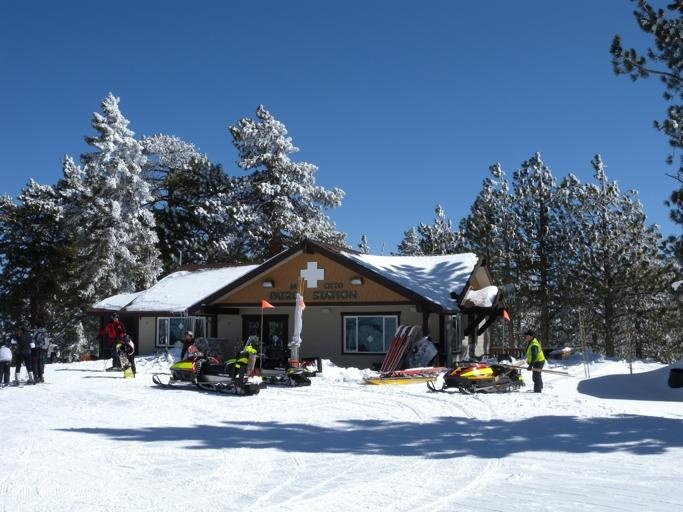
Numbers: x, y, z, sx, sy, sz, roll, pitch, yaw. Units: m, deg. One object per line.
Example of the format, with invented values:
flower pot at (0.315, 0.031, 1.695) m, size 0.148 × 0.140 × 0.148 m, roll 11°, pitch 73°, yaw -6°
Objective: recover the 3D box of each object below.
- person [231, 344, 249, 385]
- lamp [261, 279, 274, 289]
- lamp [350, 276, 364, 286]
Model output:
person at (-3.220, 3.255, 20.169) m, size 0.159 × 1.147 × 0.359 m, roll 16°, pitch 13°, yaw 11°
lamp at (-3.405, 1.300, 29.954) m, size 0.587 × 0.571 × 0.328 m, roll -1°, pitch -5°, yaw 3°
lamp at (0.691, 1.092, 28.360) m, size 0.494 × 0.391 × 0.369 m, roll -1°, pitch 1°, yaw 14°
